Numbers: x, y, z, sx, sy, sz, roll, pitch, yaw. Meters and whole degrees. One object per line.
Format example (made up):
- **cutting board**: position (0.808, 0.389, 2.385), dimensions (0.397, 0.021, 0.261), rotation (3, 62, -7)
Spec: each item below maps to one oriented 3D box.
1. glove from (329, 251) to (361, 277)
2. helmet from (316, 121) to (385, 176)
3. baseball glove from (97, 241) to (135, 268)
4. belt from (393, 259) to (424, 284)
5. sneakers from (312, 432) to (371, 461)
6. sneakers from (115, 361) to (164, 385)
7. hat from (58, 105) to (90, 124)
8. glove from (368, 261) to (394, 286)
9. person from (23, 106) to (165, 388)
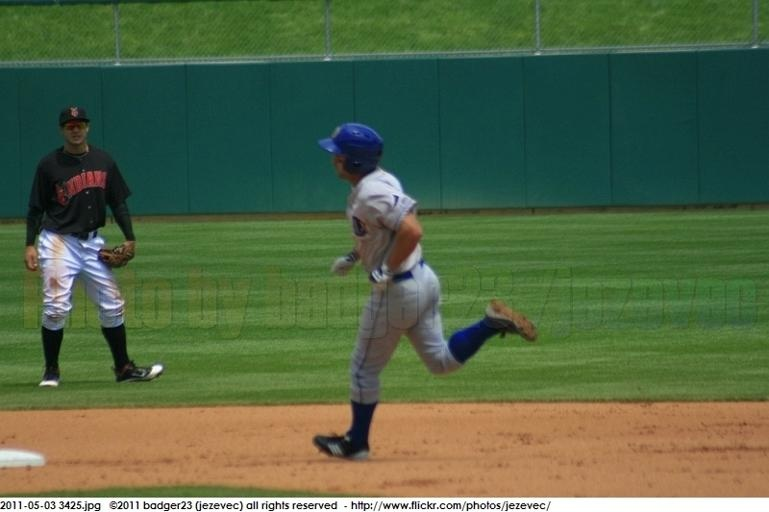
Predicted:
- **glove**: position (-0.461, 0.043, 17.769), dimensions (0.348, 0.115, 0.202), rotation (-22, -35, 9)
- **helmet**: position (-0.318, -1.151, 17.488), dimensions (0.709, 0.444, 0.397), rotation (17, -23, -5)
- **baseball glove**: position (-3.043, -0.026, 18.740), dimensions (0.454, 0.266, 0.216), rotation (5, -8, -1)
- **belt**: position (0.248, 0.157, 17.256), dimensions (0.299, 0.206, 0.219), rotation (-20, -3, 1)
- **sneakers**: position (-0.458, 2.040, 17.713), dimensions (0.701, 0.261, 0.236), rotation (11, -3, 6)
- **sneakers**: position (-2.827, 1.325, 18.804), dimensions (0.659, 0.271, 0.219), rotation (-8, -5, -6)
- **hat**: position (-3.586, -1.648, 18.645), dimensions (0.289, 0.168, 0.369), rotation (-5, -5, -23)
- **glove**: position (-0.031, 0.179, 17.221), dimensions (0.225, 0.235, 0.143), rotation (4, 5, 37)
- **person**: position (-3.443, -0.113, 18.628), dimensions (1.249, 3.181, 0.382), rotation (0, 4, -7)
